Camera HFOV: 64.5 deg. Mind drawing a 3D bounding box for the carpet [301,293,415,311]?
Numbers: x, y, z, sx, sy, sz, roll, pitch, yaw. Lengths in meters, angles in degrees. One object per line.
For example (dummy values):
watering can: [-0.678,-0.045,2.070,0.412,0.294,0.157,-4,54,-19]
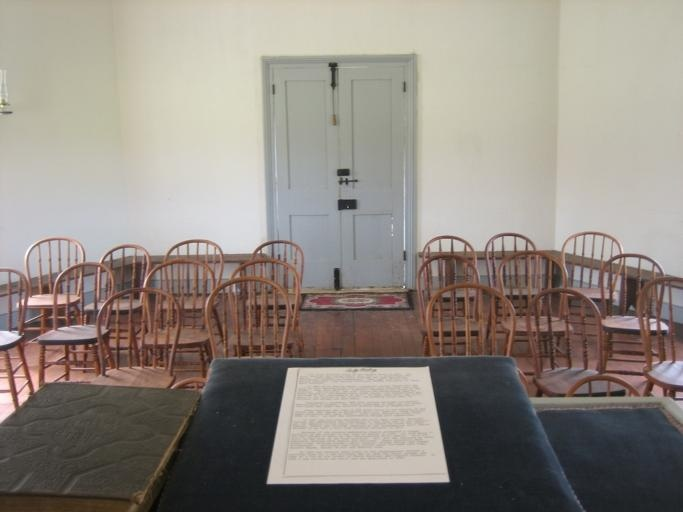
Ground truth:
carpet: [0.157,0.476,5.724,1.097,0.132,0.661,-2,1,2]
